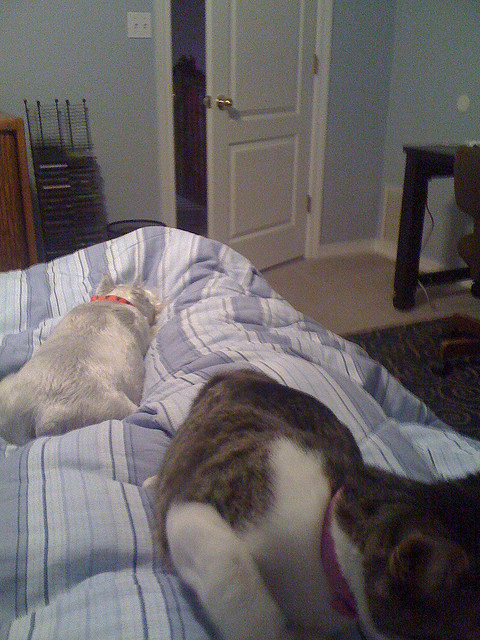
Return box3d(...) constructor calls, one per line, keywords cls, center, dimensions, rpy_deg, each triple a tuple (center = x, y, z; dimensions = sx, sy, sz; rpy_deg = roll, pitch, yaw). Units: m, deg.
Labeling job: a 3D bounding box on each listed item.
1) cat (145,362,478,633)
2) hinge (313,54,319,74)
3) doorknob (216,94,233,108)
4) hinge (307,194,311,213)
box3d(cls="cat", center=(0.033, 0.118, 0.328), dimensions=(0.114, 0.123, 0.204), rpy_deg=(-16, 28, -30))
box3d(cls="hinge", center=(0.415, -1.398, 2.685), dimensions=(0.046, 0.094, 0.012), rpy_deg=(-17, 27, -40))
box3d(cls="doorknob", center=(-0.076, -1.041, 2.344), dimensions=(0.048, 0.054, 0.054), rpy_deg=(-8, 21, -42))
box3d(cls="hinge", center=(0.425, -0.712, 2.995), dimensions=(0.022, 0.104, 0.015), rpy_deg=(4, 20, 9))
